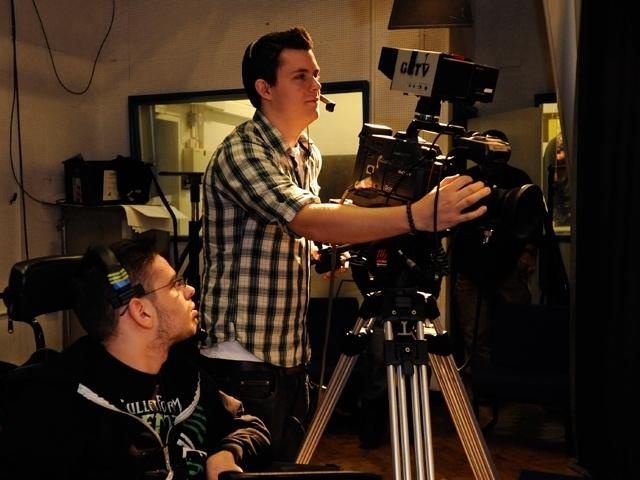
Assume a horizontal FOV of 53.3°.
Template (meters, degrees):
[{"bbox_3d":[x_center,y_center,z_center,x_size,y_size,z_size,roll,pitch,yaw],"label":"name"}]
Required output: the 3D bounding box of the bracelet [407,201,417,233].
[{"bbox_3d":[0.284,-0.067,1.994,0.017,0.073,0.050,-12,16,-2],"label":"bracelet"}]

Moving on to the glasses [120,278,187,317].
[{"bbox_3d":[-0.542,0.176,2.023,0.138,0.046,0.111,-31,9,-40],"label":"glasses"}]

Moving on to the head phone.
[{"bbox_3d":[-0.626,0.119,1.988,0.059,0.146,0.166,-24,1,-23],"label":"head phone"}]
